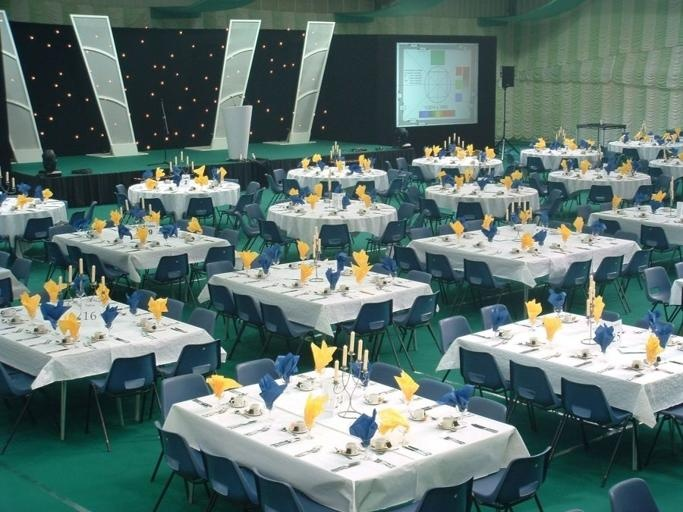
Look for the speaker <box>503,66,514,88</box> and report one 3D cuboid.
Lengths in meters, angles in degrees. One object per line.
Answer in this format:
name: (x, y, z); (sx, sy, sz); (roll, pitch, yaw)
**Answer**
speaker: (6.448, -6.913, 22.168); (0.399, 0.760, 0.784); (1, 12, 23)
